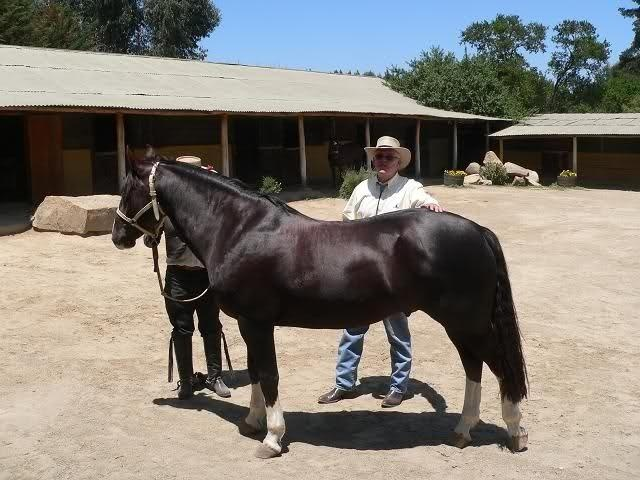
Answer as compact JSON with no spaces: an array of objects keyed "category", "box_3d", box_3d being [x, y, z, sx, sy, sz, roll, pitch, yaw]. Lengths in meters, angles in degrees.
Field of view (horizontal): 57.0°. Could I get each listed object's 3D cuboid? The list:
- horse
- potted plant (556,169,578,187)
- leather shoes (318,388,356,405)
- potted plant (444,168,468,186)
[{"category":"horse","box_3d":[0.009,0.563,4.964,3.530,2.340,0.958,3,5,0]},{"category":"potted plant","box_3d":[9.948,-2.389,23.715,0.781,0.752,0.760,0,4,11]},{"category":"leather shoes","box_3d":[0.149,1.505,5.775,0.420,0.148,0.138,-1,5,-17]},{"category":"potted plant","box_3d":[5.126,-2.333,22.631,0.661,0.462,0.845,1,3,10]}]
